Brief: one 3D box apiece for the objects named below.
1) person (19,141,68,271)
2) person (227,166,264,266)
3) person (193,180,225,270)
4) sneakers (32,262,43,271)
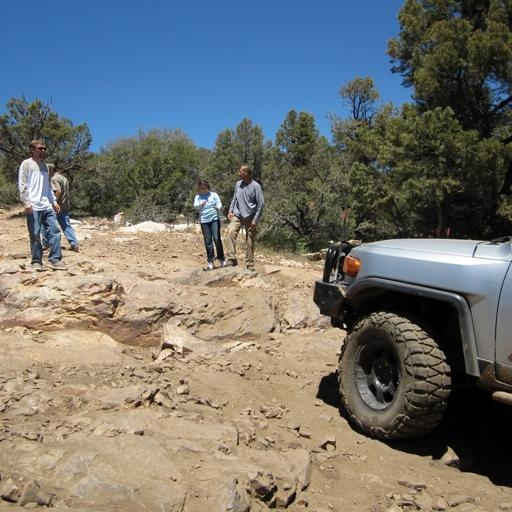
[{"bbox_3d":[-3.605,-0.871,7.067,0.720,1.542,1.687,4,1,-28],"label":"person"},{"bbox_3d":[-0.215,-0.795,8.348,0.652,1.915,0.911,5,1,-5],"label":"person"},{"bbox_3d":[-0.941,-0.634,8.635,0.698,1.595,1.300,5,1,-6],"label":"person"},{"bbox_3d":[-3.408,0.155,6.522,0.153,0.100,0.203,6,1,-39],"label":"sneakers"}]
